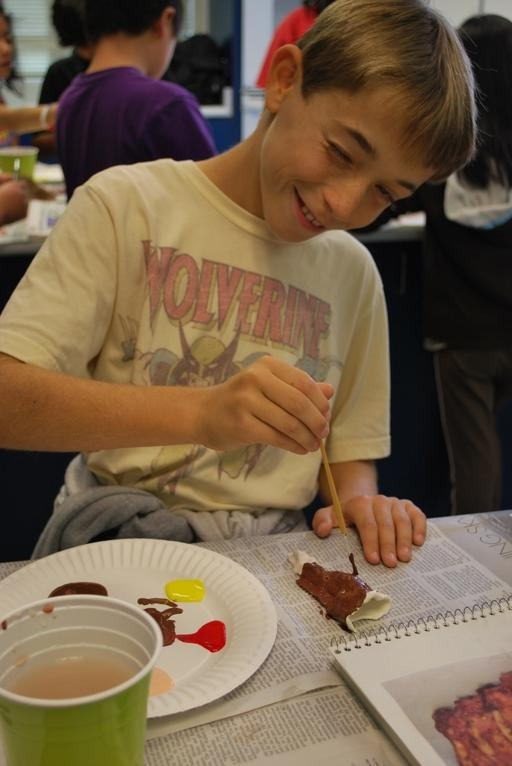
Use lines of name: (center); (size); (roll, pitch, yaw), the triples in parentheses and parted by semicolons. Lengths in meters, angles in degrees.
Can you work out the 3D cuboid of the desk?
desk: (0.005, -0.167, 1.106); (0.476, 0.198, 0.471); (5, 31, -12)
